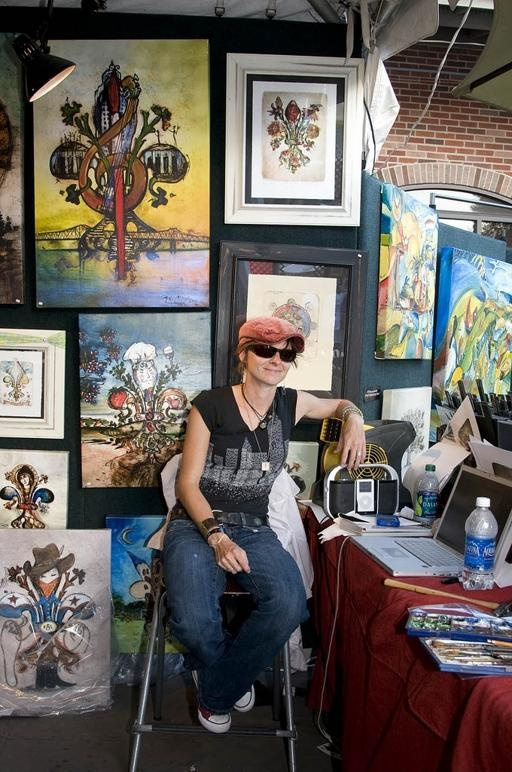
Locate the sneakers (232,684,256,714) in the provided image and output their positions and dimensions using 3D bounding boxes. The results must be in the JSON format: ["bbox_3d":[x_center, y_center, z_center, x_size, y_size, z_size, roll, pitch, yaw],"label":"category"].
[{"bbox_3d":[-0.040,1.068,2.134,0.070,0.075,0.188,28,-12,12],"label":"sneakers"}]

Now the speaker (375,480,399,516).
[{"bbox_3d":[0.449,0.381,2.135,0.102,0.149,0.101,1,-5,-2],"label":"speaker"}]

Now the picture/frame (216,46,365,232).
[{"bbox_3d":[0.122,-1.014,2.471,0.690,0.797,0.037,1,7,-3],"label":"picture/frame"}]

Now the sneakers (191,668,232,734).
[{"bbox_3d":[-0.147,1.022,1.991,0.085,0.093,0.253,7,-14,-10],"label":"sneakers"}]

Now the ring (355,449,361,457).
[{"bbox_3d":[0.349,0.231,2.126,0.024,0.024,0.006,1,0,-22],"label":"ring"}]

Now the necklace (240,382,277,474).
[{"bbox_3d":[0.003,0.162,2.115,0.091,0.331,0.050,6,-13,-11],"label":"necklace"}]

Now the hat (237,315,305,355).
[{"bbox_3d":[0.033,-0.181,2.126,0.127,0.073,0.177,4,-7,-38],"label":"hat"}]

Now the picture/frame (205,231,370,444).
[{"bbox_3d":[0.095,-0.208,2.396,0.808,0.968,0.079,3,2,-14],"label":"picture/frame"}]

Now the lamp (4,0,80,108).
[{"bbox_3d":[-0.728,-1.158,2.104,0.178,0.411,0.327,-2,10,-23],"label":"lamp"}]

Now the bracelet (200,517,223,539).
[{"bbox_3d":[-0.138,0.431,1.934,0.071,0.045,0.073,-3,-36,-37],"label":"bracelet"}]
